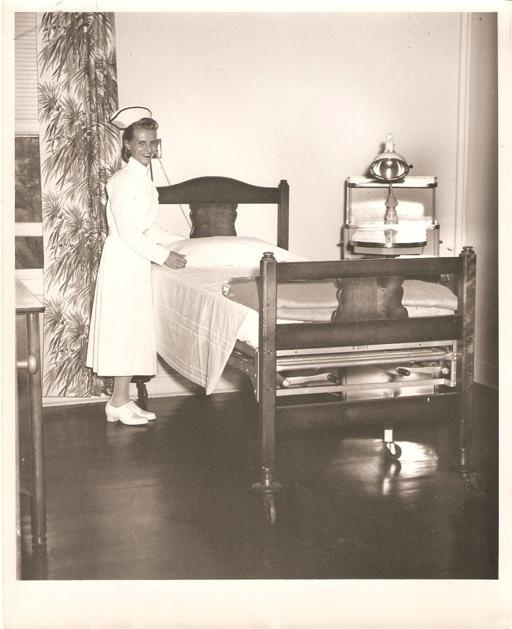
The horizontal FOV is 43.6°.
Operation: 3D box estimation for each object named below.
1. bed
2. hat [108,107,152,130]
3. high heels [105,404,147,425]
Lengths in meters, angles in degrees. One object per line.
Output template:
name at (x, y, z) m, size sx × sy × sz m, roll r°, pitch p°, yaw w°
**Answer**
bed at (0.232, -0.063, 3.151) m, size 0.923 × 1.256 × 1.733 m, roll -1°, pitch 9°, yaw -9°
hat at (-0.687, -1.083, 3.501) m, size 0.152 × 0.058 × 0.143 m, roll -16°, pitch 13°, yaw 19°
high heels at (-0.721, 0.552, 3.558) m, size 0.234 × 0.121 × 0.106 m, roll 7°, pitch 10°, yaw 5°
